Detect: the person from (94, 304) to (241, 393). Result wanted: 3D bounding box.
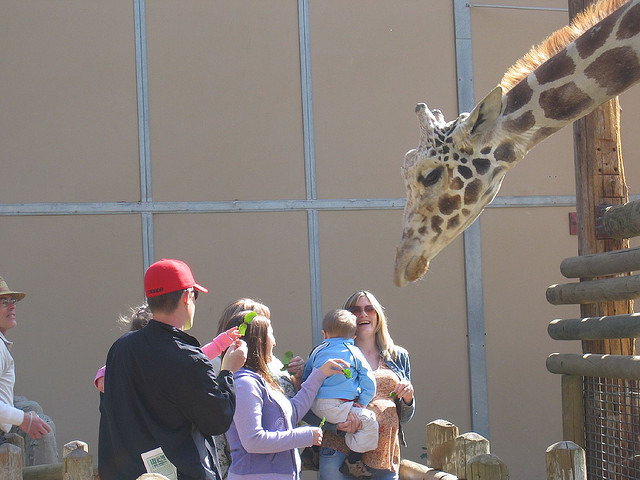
[{"bbox_3d":[-1.299,0.865,11.763,1.118,0.513,0.771,-14,5,-18],"label":"person"}]
